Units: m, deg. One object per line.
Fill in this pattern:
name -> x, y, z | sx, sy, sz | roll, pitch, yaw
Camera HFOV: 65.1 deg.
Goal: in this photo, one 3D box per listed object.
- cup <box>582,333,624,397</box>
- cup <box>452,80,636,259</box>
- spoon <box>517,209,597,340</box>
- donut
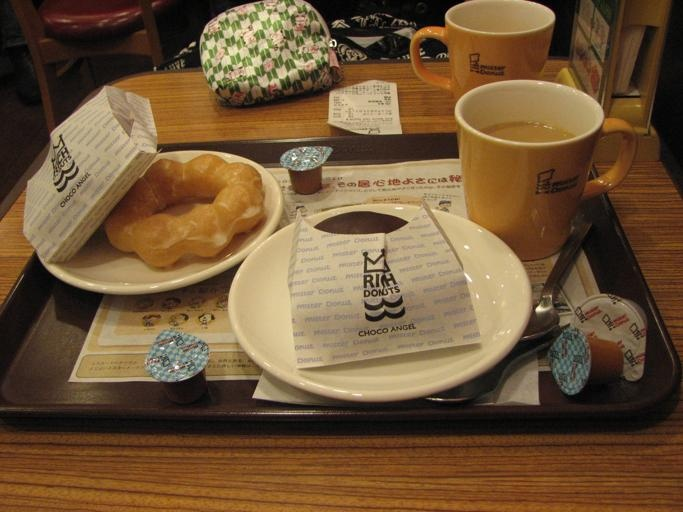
cup -> 0.281, 0.116, 0.569 | 0.039, 0.052, 0.047 | 3, 13, -4
cup -> 0.242, -0.124, 0.781 | 0.258, 0.212, 0.213 | 0, 49, 11
spoon -> 0.290, 0.021, 0.711 | 0.059, 0.043, 0.253 | 14, 51, 27
donut -> -0.215, -0.059, 0.785 | 0.202, 0.064, 0.218 | 8, 35, 27
